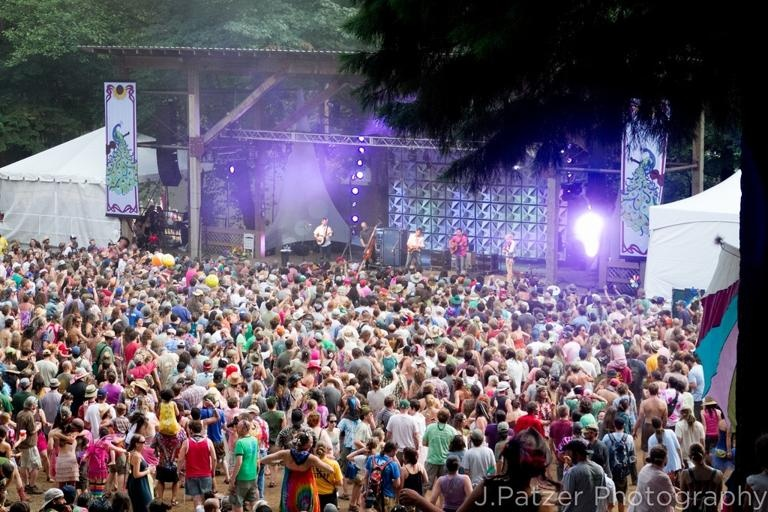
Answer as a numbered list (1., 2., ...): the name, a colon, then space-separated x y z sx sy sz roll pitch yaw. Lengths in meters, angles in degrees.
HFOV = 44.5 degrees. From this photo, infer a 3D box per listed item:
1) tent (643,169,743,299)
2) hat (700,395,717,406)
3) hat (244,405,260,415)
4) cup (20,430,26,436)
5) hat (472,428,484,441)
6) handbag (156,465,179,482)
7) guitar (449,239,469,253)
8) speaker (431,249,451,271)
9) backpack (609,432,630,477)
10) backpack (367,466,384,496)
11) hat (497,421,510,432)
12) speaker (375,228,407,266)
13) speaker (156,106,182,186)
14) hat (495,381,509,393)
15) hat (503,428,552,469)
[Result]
1. tent: 6.991 -0.347 22.579 2.960 3.085 3.020 -1 -1 25
2. hat: 4.977 2.202 14.364 0.144 0.130 0.309 0 -3 -18
3. hat: -1.936 2.266 13.872 0.159 0.089 0.118 11 -6 23
4. cup: -5.425 2.652 14.151 0.067 0.078 0.070 2 -5 0
5. hat: 1.286 2.485 13.094 0.175 0.146 0.116 0 -2 -11
6. handbag: -3.188 3.192 13.834 0.310 0.277 0.241 0 -2 -15
7. guitar: 2.236 -0.281 28.232 0.387 0.377 0.485 2 -6 3
8. speaker: 1.735 0.100 29.508 0.561 0.713 0.697 7 -9 -40
9. backpack: 3.370 2.837 13.401 0.377 0.604 0.128 0 -1 -21
10. backpack: -0.129 3.045 12.835 0.239 0.380 0.052 -1 -2 31
11. hat: 1.732 2.491 13.725 0.170 0.134 0.249 1 -1 4
12. speaker: 0.181 -0.301 29.247 1.089 1.518 0.825 -1 2 3
13. speaker: -6.831 -3.653 29.884 0.700 2.644 1.327 0 -2 -13
14. hat: 1.885 2.039 14.752 0.248 0.163 0.131 1 -2 -30
15. hat: 1.466 1.953 9.624 0.437 0.425 0.331 -7 3 -28
